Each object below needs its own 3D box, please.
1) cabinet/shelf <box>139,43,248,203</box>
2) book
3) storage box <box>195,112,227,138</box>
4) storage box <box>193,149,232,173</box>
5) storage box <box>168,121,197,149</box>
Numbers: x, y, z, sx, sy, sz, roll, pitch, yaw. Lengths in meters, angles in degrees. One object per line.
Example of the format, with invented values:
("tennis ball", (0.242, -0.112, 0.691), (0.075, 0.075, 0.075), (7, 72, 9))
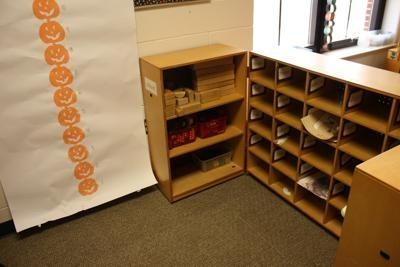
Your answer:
("cabinet/shelf", (-0.091, -0.145, 3.227), (1.273, 1.863, 0.607), (-19, 41, -23))
("book", (-0.040, -0.537, 3.124), (0.671, 0.379, 0.217), (-19, 41, -19))
("storage box", (0.136, -0.130, 3.425), (0.322, 0.193, 0.232), (-15, 35, -17))
("storage box", (0.158, 0.309, 3.623), (0.341, 0.120, 0.267), (-13, 26, -27))
("storage box", (-0.205, 0.005, 3.221), (0.242, 0.160, 0.134), (-19, 39, -23))
